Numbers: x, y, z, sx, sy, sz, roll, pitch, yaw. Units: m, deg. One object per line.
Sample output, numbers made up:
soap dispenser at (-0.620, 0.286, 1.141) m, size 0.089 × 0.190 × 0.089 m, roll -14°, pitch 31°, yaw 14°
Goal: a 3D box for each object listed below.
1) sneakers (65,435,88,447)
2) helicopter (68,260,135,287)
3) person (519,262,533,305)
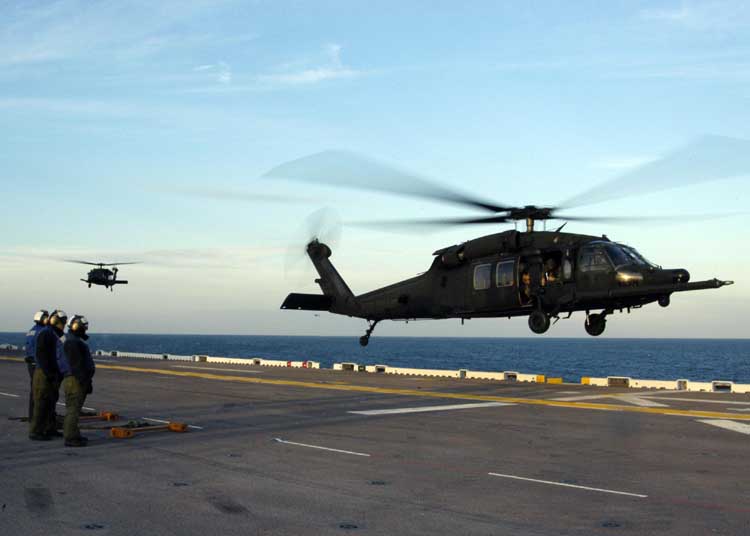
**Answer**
sneakers at (-6.994, 4.013, 18.873) m, size 0.471 × 0.224 × 0.242 m, roll 3°, pitch -3°, yaw -20°
helicopter at (-13.143, 0.333, 38.642) m, size 2.454 × 0.589 × 2.396 m, roll 0°, pitch -3°, yaw 8°
person at (5.131, 0.525, 27.665) m, size 0.490 × 1.399 × 0.493 m, roll 3°, pitch -4°, yaw 13°
